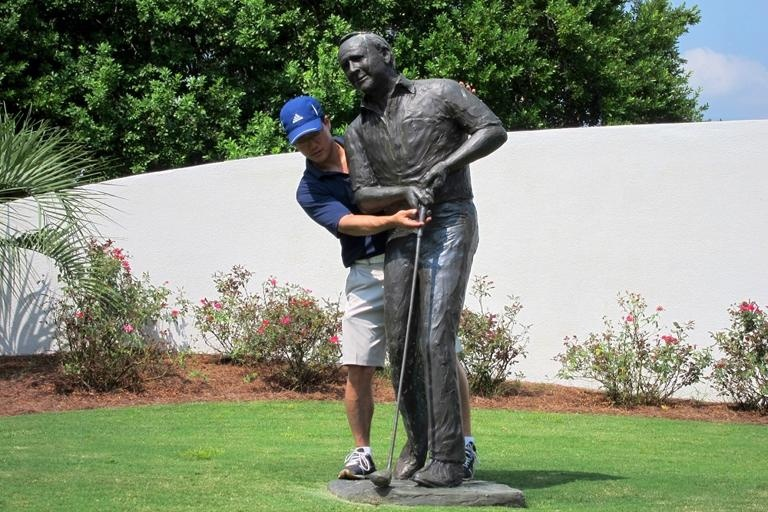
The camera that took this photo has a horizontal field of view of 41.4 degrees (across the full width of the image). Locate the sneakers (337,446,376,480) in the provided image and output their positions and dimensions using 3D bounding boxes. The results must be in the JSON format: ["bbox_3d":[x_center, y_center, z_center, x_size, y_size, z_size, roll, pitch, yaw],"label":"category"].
[{"bbox_3d":[-0.263,2.182,10.618,0.255,0.305,0.673,0,-5,21],"label":"sneakers"}]

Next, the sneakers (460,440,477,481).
[{"bbox_3d":[0.896,2.138,10.517,0.128,0.413,0.186,-4,-45,13],"label":"sneakers"}]

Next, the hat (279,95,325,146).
[{"bbox_3d":[-0.853,-1.452,10.783,0.358,0.316,0.569,-20,19,21],"label":"hat"}]
